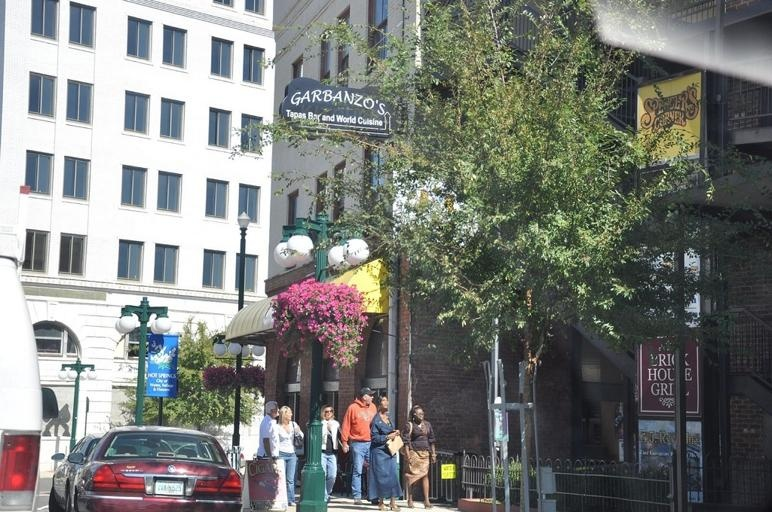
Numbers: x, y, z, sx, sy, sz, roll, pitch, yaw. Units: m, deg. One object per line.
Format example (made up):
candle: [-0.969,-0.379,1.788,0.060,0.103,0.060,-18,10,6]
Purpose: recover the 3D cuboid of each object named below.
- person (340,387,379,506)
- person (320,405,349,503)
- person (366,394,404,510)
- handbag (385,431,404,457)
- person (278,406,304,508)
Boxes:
person: [-0.796,5.199,35.539,1.150,2.985,1.086,-2,6,-3]
person: [-1.528,5.547,36.270,0.928,2.356,0.805,-5,1,-18]
person: [0.056,5.396,34.792,0.865,2.804,1.008,2,-5,-21]
handbag: [0.187,5.087,34.793,0.206,0.567,0.625,-8,8,37]
person: [-2.674,5.423,35.228,0.865,2.520,0.835,-1,6,-3]
